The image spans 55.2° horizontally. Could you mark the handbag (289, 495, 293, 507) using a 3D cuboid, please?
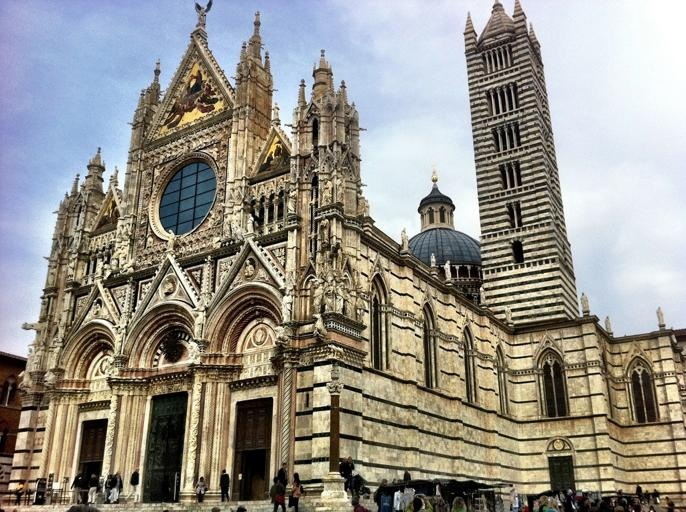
[{"bbox_3d":[-1.976,9.376,25.080,0.146,0.321,0.496,4,-26,-10],"label":"handbag"}]

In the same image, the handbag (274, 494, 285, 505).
[{"bbox_3d":[-2.302,8.836,23.744,0.308,0.244,0.268,-9,-22,38],"label":"handbag"}]

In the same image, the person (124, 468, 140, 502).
[{"bbox_3d":[-9.930,10.815,31.220,0.524,1.622,1.424,8,-27,-18],"label":"person"}]

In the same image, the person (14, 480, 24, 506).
[{"bbox_3d":[-16.701,12.201,33.835,0.434,1.176,0.664,12,-28,-26],"label":"person"}]

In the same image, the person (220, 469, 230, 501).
[{"bbox_3d":[-5.137,9.941,28.420,0.387,1.391,0.972,5,-26,-11],"label":"person"}]

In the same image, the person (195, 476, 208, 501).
[{"bbox_3d":[-6.336,10.369,29.223,0.481,1.043,0.569,-4,-25,8],"label":"person"}]
